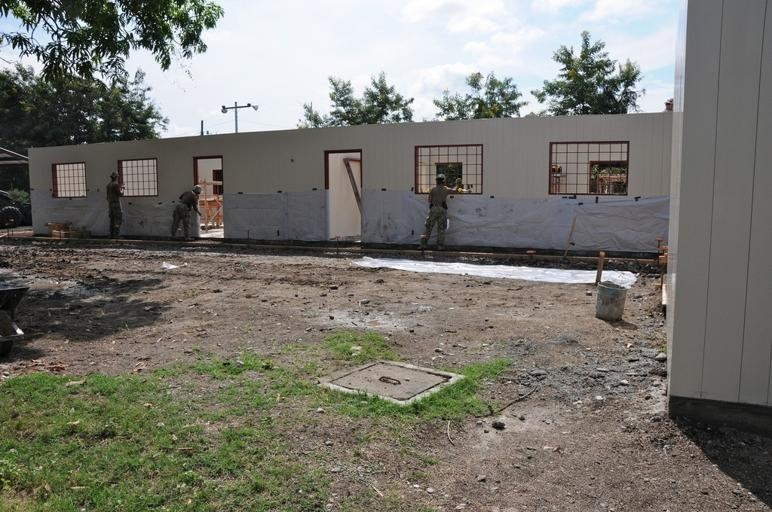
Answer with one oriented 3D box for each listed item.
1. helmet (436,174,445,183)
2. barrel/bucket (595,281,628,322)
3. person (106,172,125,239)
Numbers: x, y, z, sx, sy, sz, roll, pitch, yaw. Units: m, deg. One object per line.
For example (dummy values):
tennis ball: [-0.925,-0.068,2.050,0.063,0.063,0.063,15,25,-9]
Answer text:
helmet: [1.686,-2.370,17.310,0.218,0.232,0.296,0,0,4]
barrel/bucket: [3.519,0.732,8.746,0.578,0.516,0.574,3,9,-1]
person: [-10.672,-1.919,21.878,0.587,2.546,1.033,-7,15,-27]
